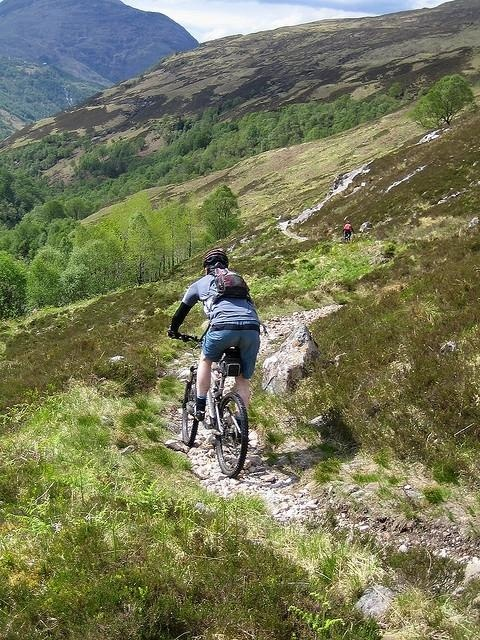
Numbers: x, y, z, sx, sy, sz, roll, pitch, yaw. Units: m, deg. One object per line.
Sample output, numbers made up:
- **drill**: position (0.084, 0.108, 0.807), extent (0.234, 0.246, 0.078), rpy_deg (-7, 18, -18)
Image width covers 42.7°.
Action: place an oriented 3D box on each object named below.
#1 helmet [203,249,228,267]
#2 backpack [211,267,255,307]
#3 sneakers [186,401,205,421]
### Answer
- **helmet**: position (-0.368, -0.936, 9.314), extent (0.275, 0.277, 0.314), rpy_deg (1, -26, -11)
- **backpack**: position (-0.137, -0.506, 8.515), extent (0.427, 0.517, 0.553), rpy_deg (3, 29, -8)
- **sneakers**: position (-0.671, 1.322, 9.027), extent (0.182, 0.199, 0.484), rpy_deg (3, 10, -16)
